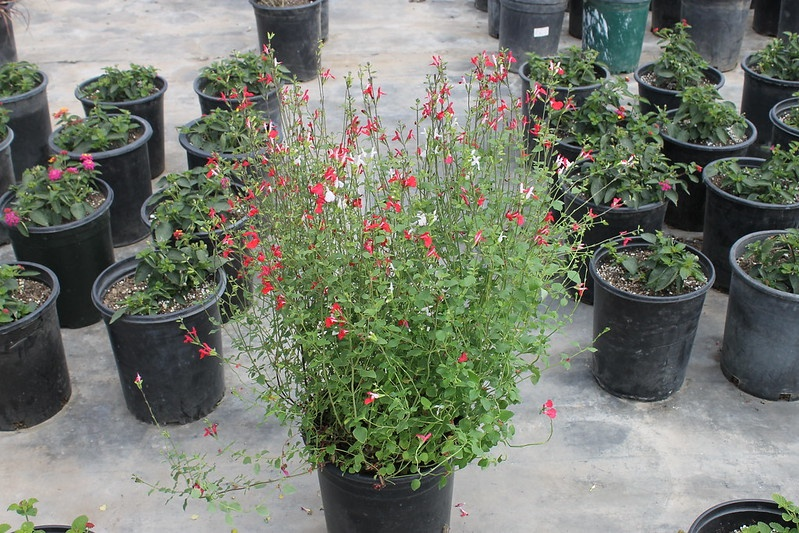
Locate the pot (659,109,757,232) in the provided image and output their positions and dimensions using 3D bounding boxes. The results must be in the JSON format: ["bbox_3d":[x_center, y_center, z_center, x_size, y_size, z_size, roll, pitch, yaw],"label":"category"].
[{"bbox_3d":[2.786,-0.904,7.883,0.978,1.005,1.045,-2,42,2],"label":"pot"}]
